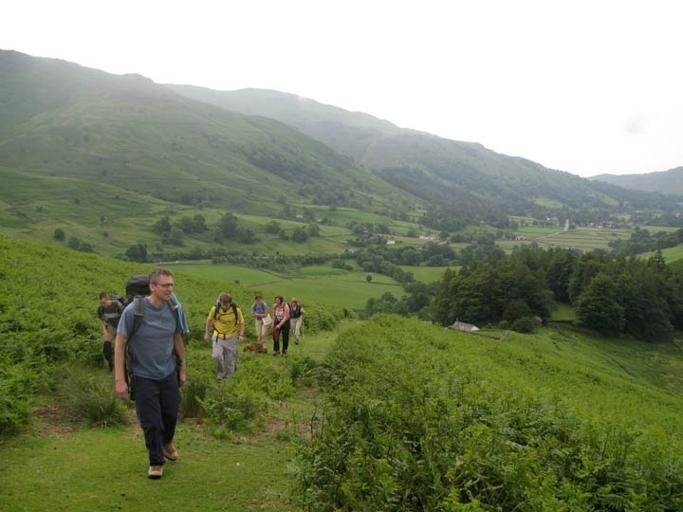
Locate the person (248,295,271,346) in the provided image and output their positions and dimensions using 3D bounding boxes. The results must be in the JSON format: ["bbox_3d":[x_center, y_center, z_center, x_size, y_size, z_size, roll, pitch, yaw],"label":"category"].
[{"bbox_3d":[-3.362,2.679,23.426,0.811,2.107,1.573,4,7,-8],"label":"person"}]

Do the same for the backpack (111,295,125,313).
[{"bbox_3d":[-7.095,1.545,17.844,0.366,0.608,0.445,-10,9,-12],"label":"backpack"}]
